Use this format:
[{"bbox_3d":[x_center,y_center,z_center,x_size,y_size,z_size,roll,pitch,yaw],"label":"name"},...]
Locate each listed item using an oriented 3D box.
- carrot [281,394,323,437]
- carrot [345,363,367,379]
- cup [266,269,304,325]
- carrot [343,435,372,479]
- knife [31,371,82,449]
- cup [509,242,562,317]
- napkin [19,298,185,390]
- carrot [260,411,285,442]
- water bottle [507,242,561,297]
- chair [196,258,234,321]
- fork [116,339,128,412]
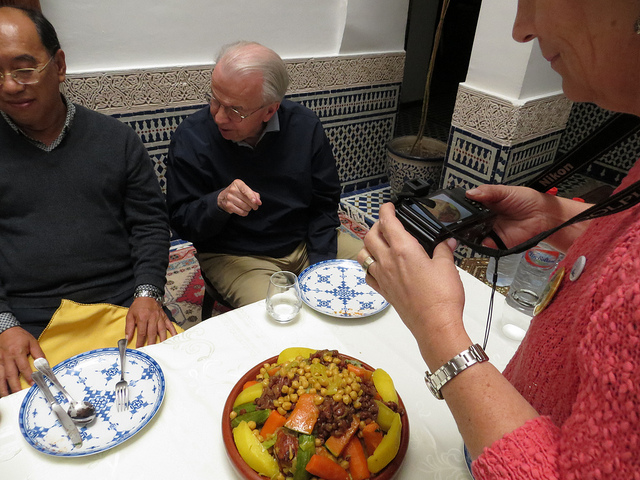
[{"bbox_3d":[-0.042,0.430,0.970,0.085,0.050,0.103,21,48,22],"label":"carrot"},{"bbox_3d":[0.098,0.365,1.106,0.038,0.016,0.036,25,4,20],"label":"carrot"},{"bbox_3d":[-0.125,0.225,1.449,0.123,0.171,0.169,-1,34,-4],"label":"cup"},{"bbox_3d":[0.086,0.526,0.942,0.044,0.037,0.098,-12,48,-9],"label":"carrot"},{"bbox_3d":[-0.731,0.461,1.080,0.294,0.045,0.026,31,50,29],"label":"knife"},{"bbox_3d":[0.763,0.128,1.379,0.130,0.107,0.353,14,74,25],"label":"cup"},{"bbox_3d":[-1.062,0.302,1.956,0.595,0.355,0.612,-16,31,-42],"label":"napkin"},{"bbox_3d":[-0.122,0.467,0.979,0.042,0.039,0.058,31,52,31],"label":"carrot"},{"bbox_3d":[0.668,0.091,1.221,0.088,0.144,0.102,21,32,31],"label":"water bottle"},{"bbox_3d":[-0.619,0.295,2.305,0.201,0.299,0.226,-22,76,-17],"label":"chair"},{"bbox_3d":[-0.607,0.419,1.195,0.033,0.034,0.285,-2,3,-27],"label":"fork"}]
